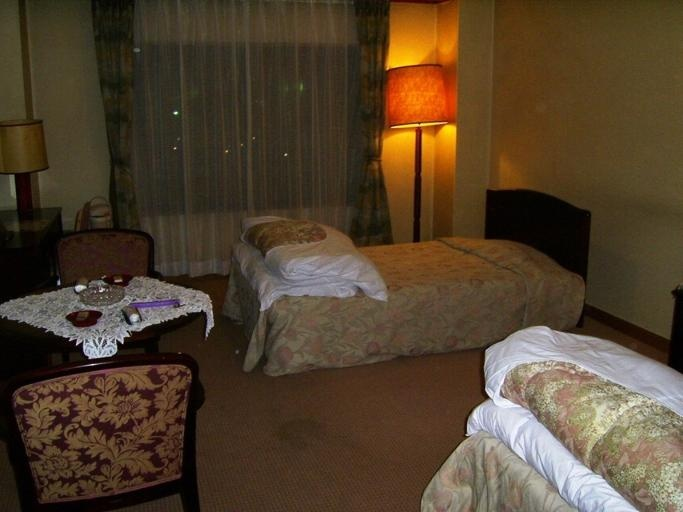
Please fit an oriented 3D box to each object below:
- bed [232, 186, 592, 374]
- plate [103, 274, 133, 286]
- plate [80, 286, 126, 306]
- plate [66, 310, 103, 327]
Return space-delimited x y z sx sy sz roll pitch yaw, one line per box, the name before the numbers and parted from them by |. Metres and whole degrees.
bed | 0.518 0.233 3.994 2.293 1.003 1.399 -5 15 -13
plate | -1.176 0.130 2.796 0.085 0.026 0.084 -13 28 -33
plate | -1.138 0.190 2.529 0.115 0.028 0.117 3 12 -2
plate | -1.134 0.264 2.336 0.083 0.029 0.083 -4 19 -15
